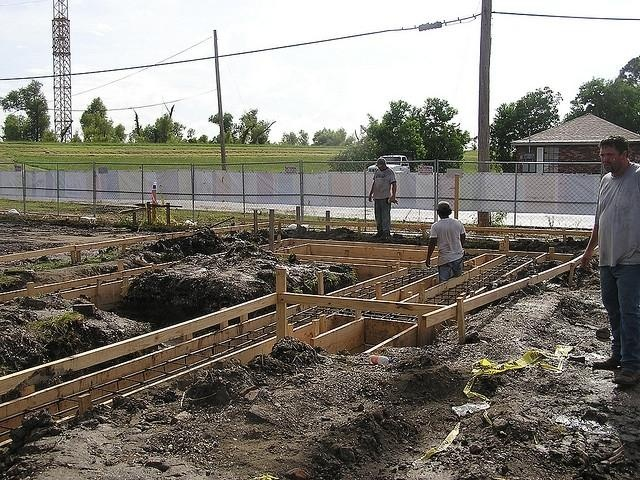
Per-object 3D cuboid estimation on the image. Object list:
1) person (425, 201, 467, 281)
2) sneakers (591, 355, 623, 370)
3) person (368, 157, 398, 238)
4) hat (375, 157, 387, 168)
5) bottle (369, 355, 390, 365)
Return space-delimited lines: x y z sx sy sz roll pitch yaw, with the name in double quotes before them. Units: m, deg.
"person" 1.833 0.049 9.611 0.534 1.228 0.606 1 12 11
"sneakers" 2.749 1.187 6.337 0.278 0.119 0.095 2 0 16
"person" 1.380 -0.883 14.402 0.557 1.831 1.196 -1 12 4
"hat" 1.271 -1.682 13.914 0.188 0.269 0.284 7 0 17
"bottle" 0.595 1.208 6.587 0.210 0.036 0.210 -1 12 0
